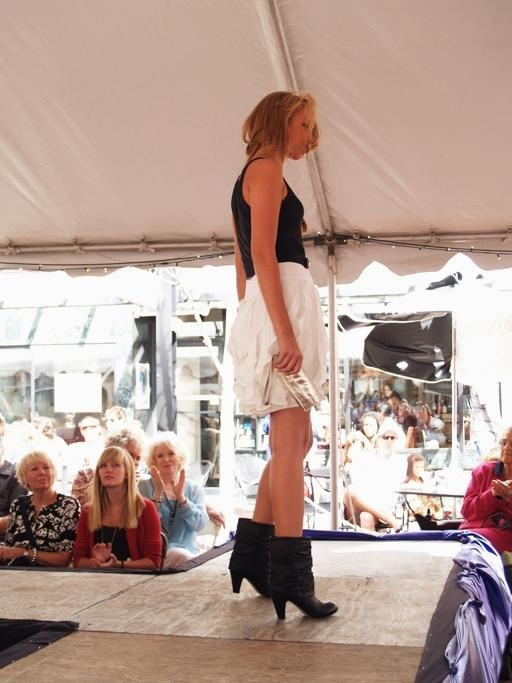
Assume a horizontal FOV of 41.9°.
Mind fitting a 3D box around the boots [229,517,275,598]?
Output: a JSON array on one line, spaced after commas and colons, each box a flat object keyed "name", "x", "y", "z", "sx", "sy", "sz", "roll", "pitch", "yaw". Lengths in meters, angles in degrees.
[{"name": "boots", "x": 0.008, "y": 0.526, "z": 1.644, "sx": 0.166, "sy": 0.152, "sz": 0.071, "roll": -11, "pitch": -20, "yaw": 30}]

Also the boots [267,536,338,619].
[{"name": "boots", "x": 0.103, "y": 0.509, "z": 1.448, "sx": 0.143, "sy": 0.168, "sz": 0.094, "roll": -2, "pitch": -9, "yaw": 0}]

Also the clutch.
[{"name": "clutch", "x": 0.100, "y": 0.096, "z": 1.567, "sx": 0.086, "sy": 0.160, "sz": 0.038, "roll": -32, "pitch": 16, "yaw": 38}]
